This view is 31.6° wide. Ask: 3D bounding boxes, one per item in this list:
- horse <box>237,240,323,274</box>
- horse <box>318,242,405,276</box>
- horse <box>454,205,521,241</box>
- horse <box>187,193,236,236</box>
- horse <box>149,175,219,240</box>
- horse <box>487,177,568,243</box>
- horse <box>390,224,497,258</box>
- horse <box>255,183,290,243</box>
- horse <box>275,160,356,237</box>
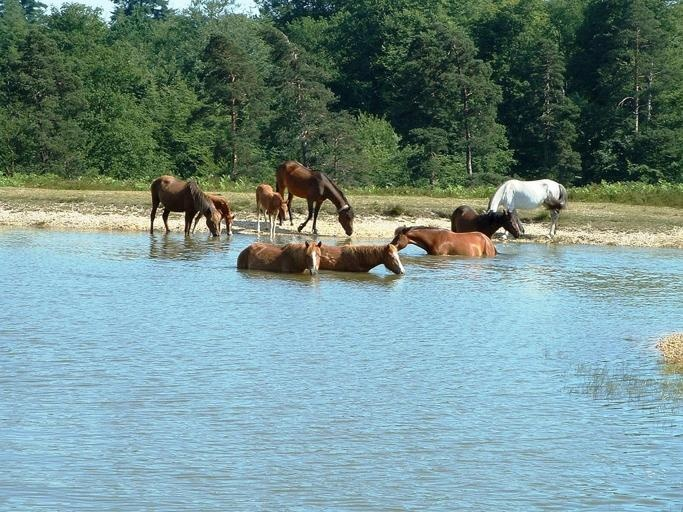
[{"bbox_3d":[-1.861,-0.026,38.312,2.641,1.141,1.031,6,15,17],"label":"horse"},{"bbox_3d":[0.669,0.139,38.732,2.494,0.989,2.294,6,11,21],"label":"horse"},{"bbox_3d":[5.420,-1.074,46.070,2.003,1.340,1.549,-3,13,-21],"label":"horse"},{"bbox_3d":[-4.948,-1.849,49.047,0.820,1.942,3.588,-4,7,-32],"label":"horse"},{"bbox_3d":[-5.994,-1.787,46.895,3.439,2.375,1.176,13,18,37],"label":"horse"},{"bbox_3d":[7.668,-2.232,49.500,2.496,2.971,2.403,-9,14,-27],"label":"horse"},{"bbox_3d":[3.604,-0.286,42.779,2.658,1.310,2.491,-4,14,-32],"label":"horse"},{"bbox_3d":[-2.777,-1.561,47.913,1.336,2.371,1.113,1,15,4],"label":"horse"},{"bbox_3d":[-1.149,-2.230,49.426,1.102,2.699,4.967,-9,21,-40],"label":"horse"}]
